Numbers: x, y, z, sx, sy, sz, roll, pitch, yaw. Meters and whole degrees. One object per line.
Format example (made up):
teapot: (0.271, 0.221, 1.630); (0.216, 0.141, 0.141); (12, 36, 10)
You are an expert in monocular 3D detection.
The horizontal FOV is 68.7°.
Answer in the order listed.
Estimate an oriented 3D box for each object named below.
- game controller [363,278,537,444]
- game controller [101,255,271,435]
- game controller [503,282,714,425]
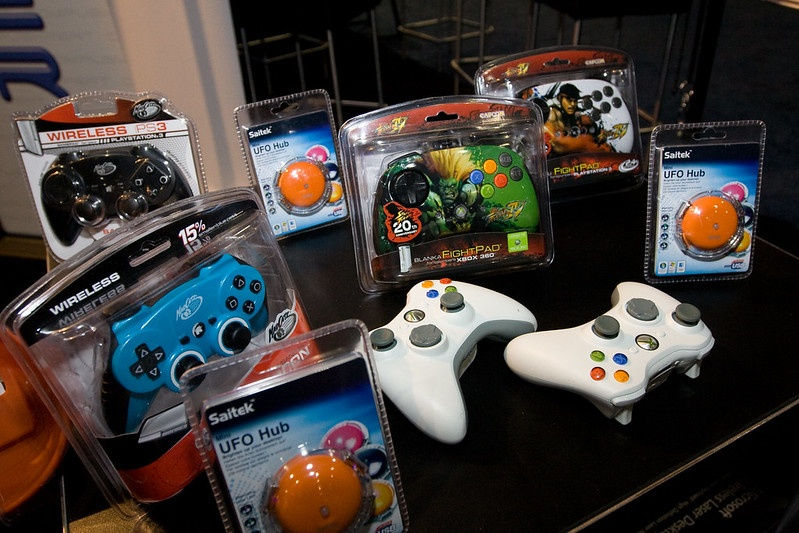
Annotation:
game controller: (0.078, 0.146, 0.961); (0.222, 0.118, 0.308); (24, 47, 25)
game controller: (-0.305, 0.119, 0.915); (0.305, 0.196, 0.117); (-33, 1, -27)
game controller: (0.379, 0.134, 1.021); (0.338, 0.124, 0.239); (-18, 38, -21)
